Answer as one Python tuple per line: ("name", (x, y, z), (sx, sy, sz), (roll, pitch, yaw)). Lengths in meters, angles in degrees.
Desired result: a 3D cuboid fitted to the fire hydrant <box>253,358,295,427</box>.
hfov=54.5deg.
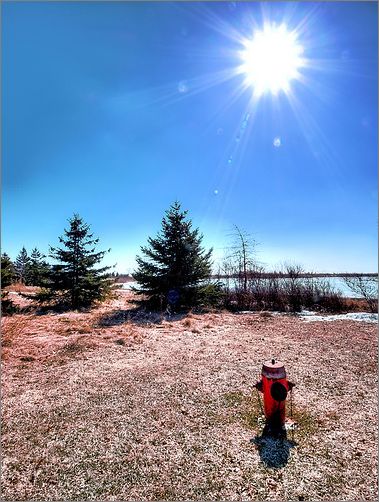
("fire hydrant", (1.203, 2.029, 5.242), (0.537, 0.959, 0.561), (5, 14, 18))
